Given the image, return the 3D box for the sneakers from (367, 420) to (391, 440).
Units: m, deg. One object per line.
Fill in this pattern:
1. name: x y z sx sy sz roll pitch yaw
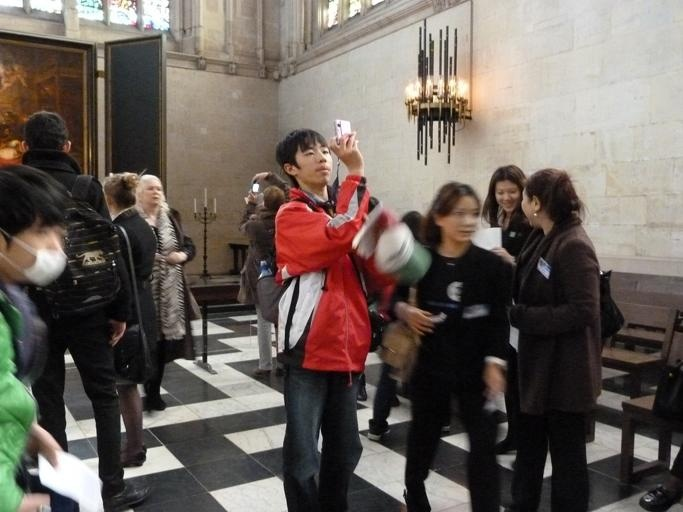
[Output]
1. sneakers: 0.285 1.297 4.087 0.082 0.093 0.224 3 1 24

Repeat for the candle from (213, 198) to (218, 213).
1. candle: -2.940 -1.204 12.924 0.084 0.318 0.511 -1 5 -14

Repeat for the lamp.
1. lamp: 1.566 -2.700 8.748 0.984 2.392 1.122 1 5 10
